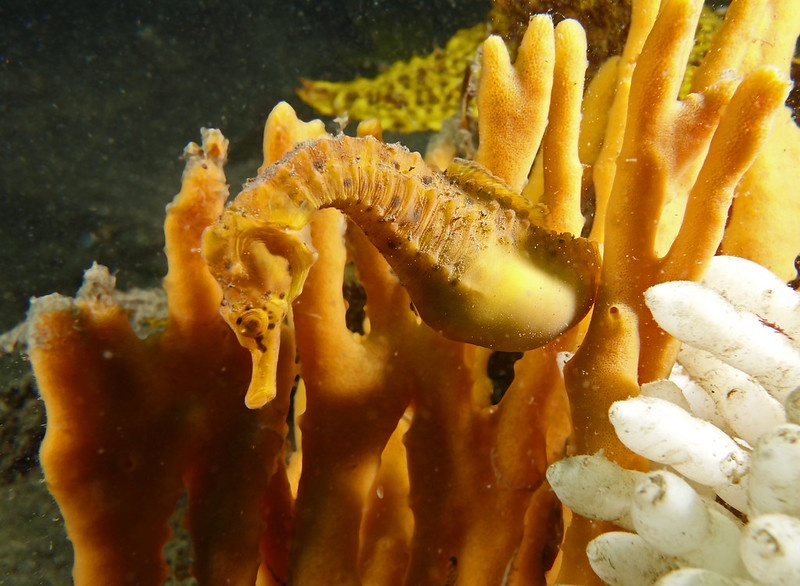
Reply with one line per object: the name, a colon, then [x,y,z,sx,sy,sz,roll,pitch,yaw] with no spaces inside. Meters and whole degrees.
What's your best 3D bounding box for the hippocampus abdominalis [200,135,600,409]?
hippocampus abdominalis: [0.016,-0.067,1.534,0.630,0.347,0.257,-20,41,-9]
